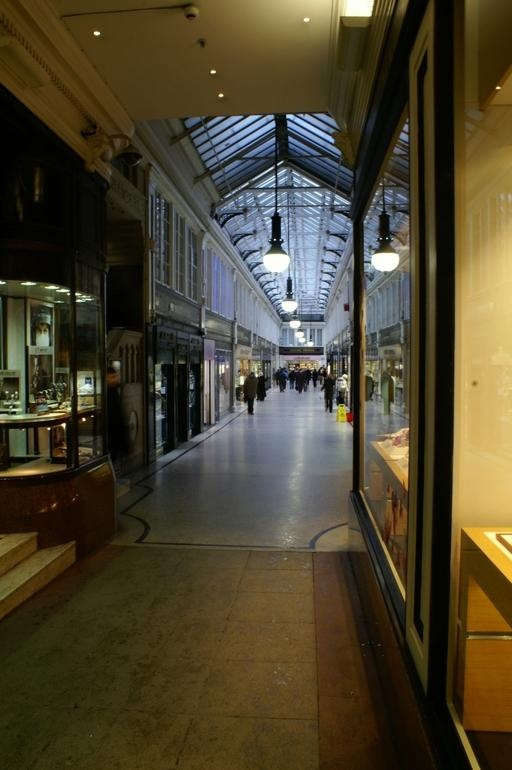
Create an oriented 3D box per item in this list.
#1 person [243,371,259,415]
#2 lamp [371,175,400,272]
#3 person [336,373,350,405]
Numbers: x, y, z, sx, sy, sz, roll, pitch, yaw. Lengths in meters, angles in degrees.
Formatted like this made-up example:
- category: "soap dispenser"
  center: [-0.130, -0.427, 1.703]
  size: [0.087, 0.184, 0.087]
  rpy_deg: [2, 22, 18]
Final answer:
- category: "person"
  center: [-0.185, 0.265, 16.398]
  size: [0.351, 1.313, 1.249]
  rpy_deg: [0, 1, -4]
- category: "lamp"
  center: [0.754, -0.939, 3.014]
  size: [0.180, 0.651, 0.213]
  rpy_deg: [-3, -18, 22]
- category: "person"
  center: [2.748, 0.150, 16.256]
  size: [0.300, 0.980, 1.325]
  rpy_deg: [0, 1, 7]
